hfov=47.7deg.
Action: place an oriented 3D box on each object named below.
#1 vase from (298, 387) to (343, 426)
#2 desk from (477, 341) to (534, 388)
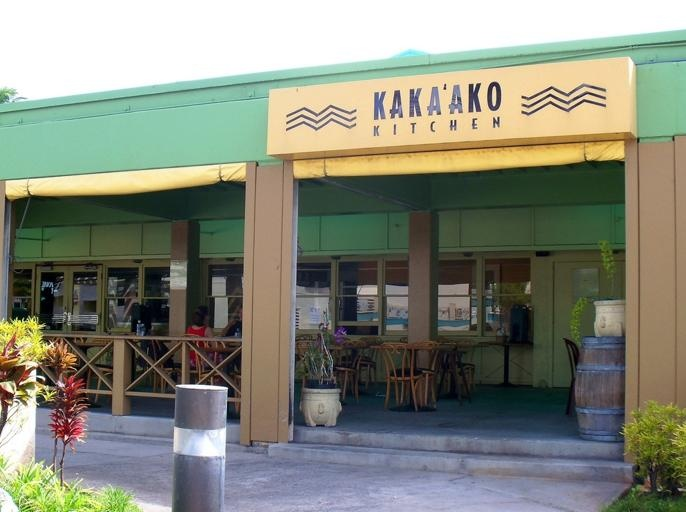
[{"bbox_3d":[-0.267,1.908,9.791,0.529,0.433,0.529,9,-12,-36],"label":"vase"},{"bbox_3d":[3.288,1.973,14.790,0.597,0.732,1.112,-22,-7,21],"label":"desk"}]
